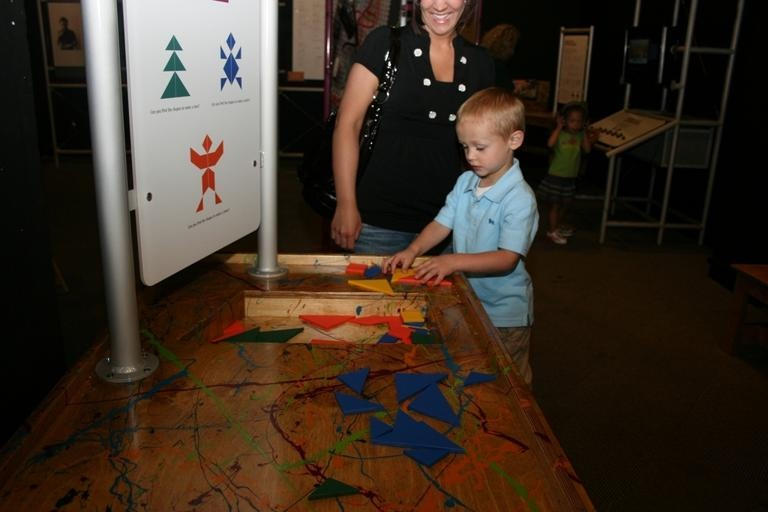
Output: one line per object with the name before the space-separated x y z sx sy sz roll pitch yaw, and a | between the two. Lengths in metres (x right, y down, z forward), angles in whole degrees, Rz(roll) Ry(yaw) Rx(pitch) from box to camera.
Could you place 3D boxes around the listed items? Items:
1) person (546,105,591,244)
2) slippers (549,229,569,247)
person | 1.691 -0.779 4.901 0.403 1.209 0.820 10 24 18
slippers | 1.628 -0.168 4.893 0.102 0.080 0.201 -16 22 -7
